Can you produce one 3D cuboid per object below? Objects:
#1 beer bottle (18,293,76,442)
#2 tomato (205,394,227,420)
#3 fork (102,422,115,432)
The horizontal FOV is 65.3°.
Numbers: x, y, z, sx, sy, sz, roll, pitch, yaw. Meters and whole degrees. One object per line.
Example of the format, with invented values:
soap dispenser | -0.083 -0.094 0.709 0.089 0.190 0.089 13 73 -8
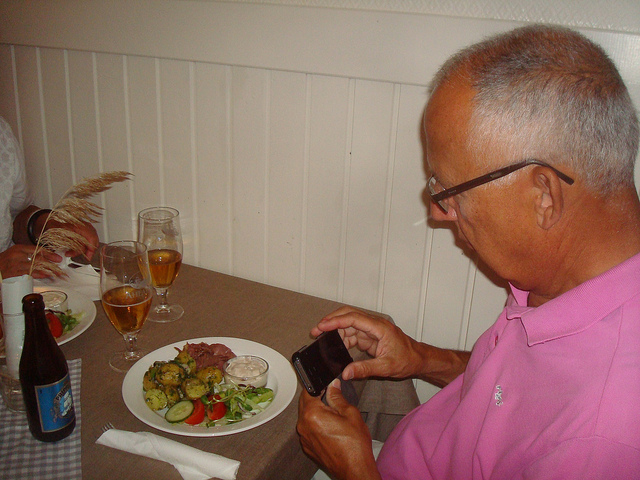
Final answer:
beer bottle | -0.577 0.269 1.052 0.110 0.326 0.120 1 18 0
tomato | -0.231 0.380 1.116 0.045 0.021 0.038 -1 15 -14
fork | -0.460 0.409 1.093 0.011 0.004 0.022 -19 42 -29
